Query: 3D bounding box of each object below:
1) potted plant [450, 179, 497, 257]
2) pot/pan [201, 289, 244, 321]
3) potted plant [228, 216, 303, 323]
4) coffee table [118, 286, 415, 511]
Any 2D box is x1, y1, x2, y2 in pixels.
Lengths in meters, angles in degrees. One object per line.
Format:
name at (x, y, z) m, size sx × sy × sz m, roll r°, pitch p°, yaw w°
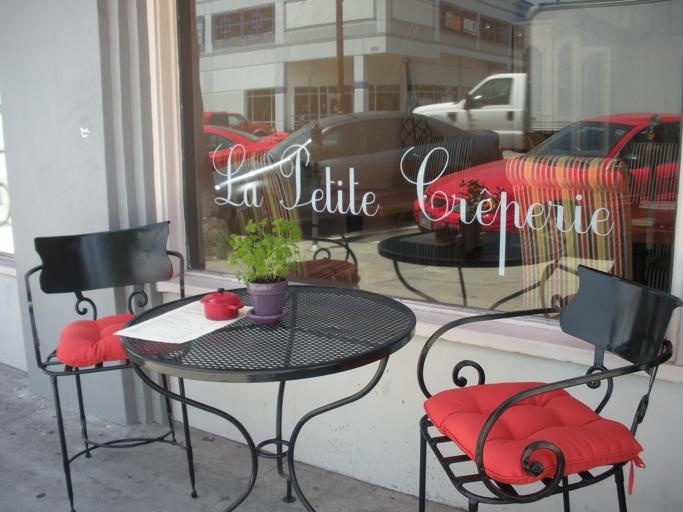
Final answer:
potted plant at (0.587, -0.177, 2.620) m, size 0.082 × 0.304 × 0.177 m, roll 2°, pitch 4°, yaw -23°
pot/pan at (-0.455, 0.195, 2.315) m, size 0.147 × 0.102 × 0.115 m, roll 9°, pitch 13°, yaw 35°
potted plant at (-0.297, 0.057, 2.434) m, size 0.323 × 0.468 × 0.320 m, roll -10°, pitch 19°, yaw -27°
coffee table at (-0.295, 0.258, 2.250) m, size 0.937 × 0.676 × 0.908 m, roll -12°, pitch 20°, yaw -36°
